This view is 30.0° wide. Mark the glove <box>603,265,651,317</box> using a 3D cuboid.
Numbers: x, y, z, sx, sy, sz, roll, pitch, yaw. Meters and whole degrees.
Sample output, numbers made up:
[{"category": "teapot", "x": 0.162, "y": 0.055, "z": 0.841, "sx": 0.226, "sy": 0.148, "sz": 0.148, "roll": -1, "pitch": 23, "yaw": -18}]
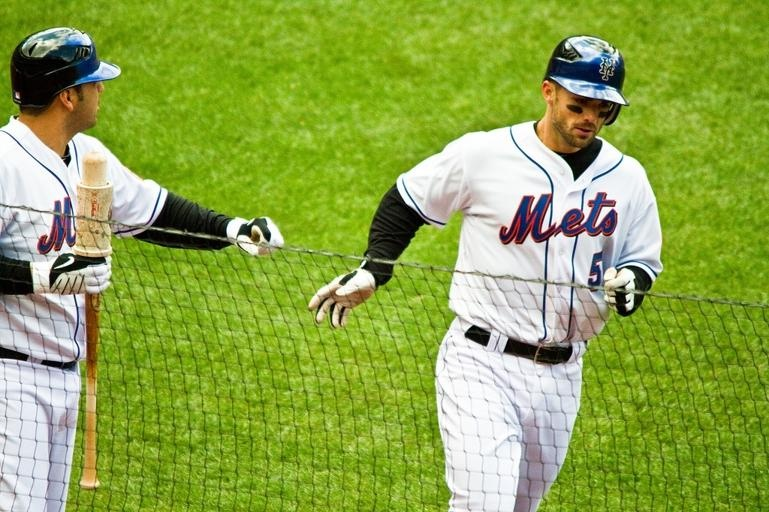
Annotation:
[{"category": "glove", "x": 1.572, "y": 0.229, "z": 9.407, "sx": 0.307, "sy": 0.306, "sz": 0.342, "roll": 8, "pitch": 36, "yaw": 9}]

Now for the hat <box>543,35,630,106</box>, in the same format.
[{"category": "hat", "x": 1.345, "y": -1.225, "z": 9.426, "sx": 0.426, "sy": 0.271, "sz": 0.543, "roll": 10, "pitch": 12, "yaw": -37}]

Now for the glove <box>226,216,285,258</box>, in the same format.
[{"category": "glove", "x": -0.887, "y": -0.129, "z": 9.744, "sx": 0.408, "sy": 0.189, "sz": 0.233, "roll": 8, "pitch": -20, "yaw": 42}]

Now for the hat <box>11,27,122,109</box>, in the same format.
[{"category": "hat", "x": -2.075, "y": -1.245, "z": 9.406, "sx": 0.693, "sy": 0.353, "sz": 0.480, "roll": -11, "pitch": 27, "yaw": -14}]

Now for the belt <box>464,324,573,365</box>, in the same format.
[{"category": "belt", "x": 0.886, "y": 0.614, "z": 9.479, "sx": 0.412, "sy": 0.096, "sz": 0.357, "roll": 14, "pitch": -1, "yaw": -10}]
